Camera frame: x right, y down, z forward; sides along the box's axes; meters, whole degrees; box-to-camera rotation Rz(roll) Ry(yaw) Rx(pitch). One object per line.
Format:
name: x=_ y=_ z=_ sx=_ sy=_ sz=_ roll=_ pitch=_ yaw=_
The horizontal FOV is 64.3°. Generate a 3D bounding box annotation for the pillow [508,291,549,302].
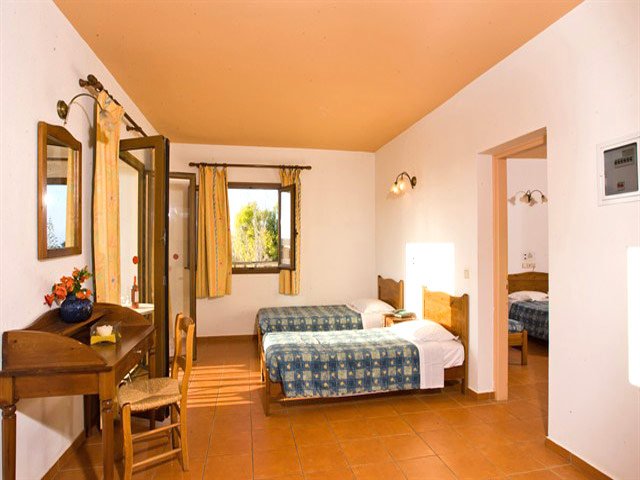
pillow: x=3.252 y=0.887 z=7.944 sx=0.359 sy=0.099 sz=0.404 roll=1 pitch=-2 yaw=-16

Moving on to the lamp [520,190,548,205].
lamp: x=3.489 y=-0.679 z=8.362 sx=0.411 sy=0.252 sz=0.780 roll=3 pitch=8 yaw=22

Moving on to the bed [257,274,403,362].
bed: x=0.138 y=0.966 z=7.161 sx=1.803 sy=1.249 sz=1.008 roll=-3 pitch=3 yaw=-18

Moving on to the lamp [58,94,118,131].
lamp: x=-1.989 y=-1.144 z=4.419 sx=0.289 sy=0.319 sz=0.621 roll=0 pitch=7 yaw=4

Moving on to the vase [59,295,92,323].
vase: x=-1.940 y=0.538 z=4.042 sx=0.203 sy=0.231 sz=0.211 roll=-2 pitch=-4 yaw=5

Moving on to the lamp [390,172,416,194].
lamp: x=1.075 y=-0.757 z=6.848 sx=0.253 sy=0.323 sz=0.736 roll=-1 pitch=7 yaw=-5

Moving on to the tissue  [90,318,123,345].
tissue : x=-1.699 y=0.713 z=4.021 sx=0.172 sy=0.142 sz=0.177 roll=-1 pitch=3 yaw=-28

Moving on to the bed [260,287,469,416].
bed: x=0.451 y=1.203 z=5.638 sx=1.738 sy=1.011 sz=1.229 roll=-2 pitch=1 yaw=-14
